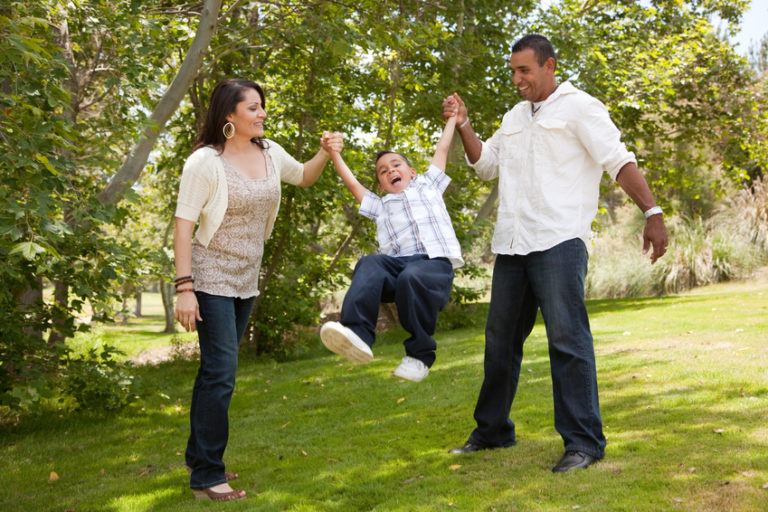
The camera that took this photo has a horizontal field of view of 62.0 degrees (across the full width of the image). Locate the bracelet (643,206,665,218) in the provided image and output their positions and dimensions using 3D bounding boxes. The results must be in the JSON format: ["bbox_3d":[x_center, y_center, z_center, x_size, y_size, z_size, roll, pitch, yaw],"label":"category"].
[{"bbox_3d":[2.313,-0.378,5.478,0.128,0.101,0.202,-5,3,25],"label":"bracelet"}]

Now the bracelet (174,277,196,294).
[{"bbox_3d":[-1.687,0.251,5.428,0.154,0.132,0.141,-1,-8,-15],"label":"bracelet"}]

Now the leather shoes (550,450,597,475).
[{"bbox_3d":[1.571,1.704,5.299,0.333,0.109,0.171,3,-2,-20],"label":"leather shoes"}]

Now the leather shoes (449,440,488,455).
[{"bbox_3d":[0.778,1.738,5.789,0.380,0.145,0.124,0,-13,0],"label":"leather shoes"}]

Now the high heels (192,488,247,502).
[{"bbox_3d":[-1.396,2.022,5.464,0.391,0.095,0.150,0,-9,2],"label":"high heels"}]
